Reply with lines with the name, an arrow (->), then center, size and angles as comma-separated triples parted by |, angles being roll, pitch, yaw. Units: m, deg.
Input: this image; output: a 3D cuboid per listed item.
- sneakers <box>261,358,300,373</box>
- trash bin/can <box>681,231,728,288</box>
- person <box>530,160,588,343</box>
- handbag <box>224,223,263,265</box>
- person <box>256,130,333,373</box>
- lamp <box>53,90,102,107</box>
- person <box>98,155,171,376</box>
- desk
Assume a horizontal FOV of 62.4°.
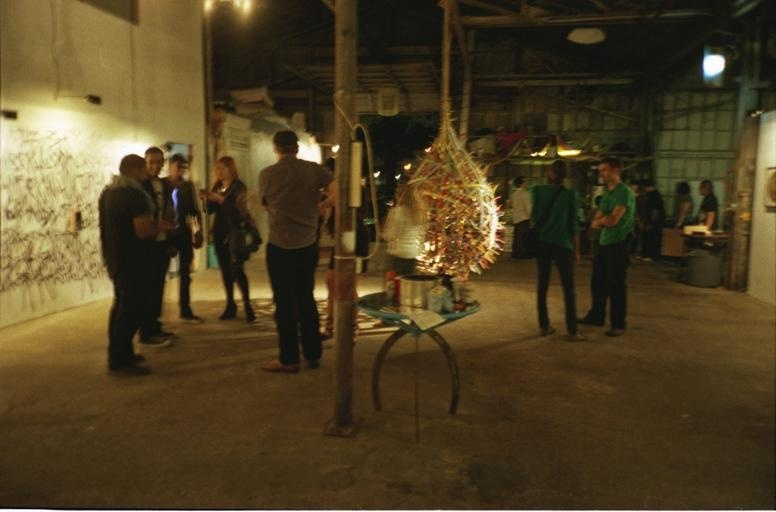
sneakers -> -1.200, 1.238, 7.276 | 0.442, 0.158, 0.156 | 5, 3, 5
trash bin/can -> 5.864, 0.070, 12.139 | 0.792, 1.055, 1.169 | 0, -2, 3
person -> 2.249, -0.082, 8.449 | 0.695, 2.331, 0.510 | 1, 9, 11
handbag -> -1.943, -0.169, 8.641 | 0.436, 0.534, 0.236 | 13, 1, -6
person -> -1.027, -0.040, 7.111 | 0.737, 2.682, 0.402 | -2, 9, -12
lamp -> -4.411, -2.257, 9.153 | 0.674, 0.218, 0.141 | -2, 16, -42
person -> -2.895, 0.073, 7.280 | 0.582, 2.429, 0.676 | 3, 10, 24
desk -> 0.270, 0.952, 6.427 | 1.162, 1.098, 1.034 | -3, -12, -8
